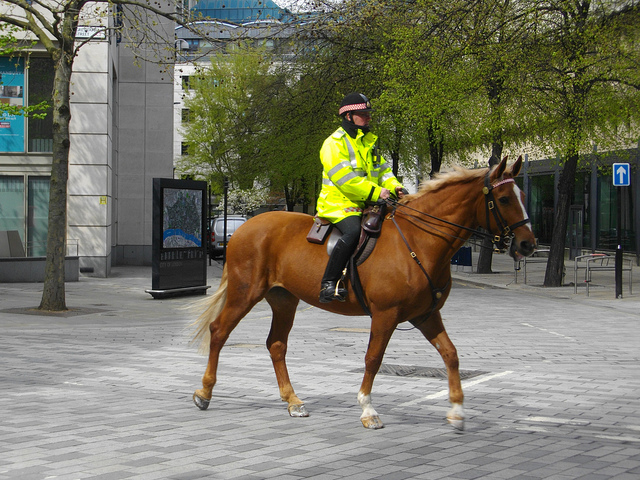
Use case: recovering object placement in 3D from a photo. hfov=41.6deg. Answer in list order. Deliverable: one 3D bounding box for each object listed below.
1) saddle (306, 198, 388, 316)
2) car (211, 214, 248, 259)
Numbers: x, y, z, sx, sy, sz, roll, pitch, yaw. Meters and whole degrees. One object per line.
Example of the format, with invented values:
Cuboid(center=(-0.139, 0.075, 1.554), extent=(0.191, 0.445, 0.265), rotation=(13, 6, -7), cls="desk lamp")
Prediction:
Cuboid(center=(0.314, 0.161, 10.446), extent=(0.960, 1.345, 0.997), rotation=(7, 9, 27), cls="saddle")
Cuboid(center=(-4.744, -0.177, 42.919), extent=(2.274, 2.236, 4.622), rotation=(2, 3, -14), cls="car")
